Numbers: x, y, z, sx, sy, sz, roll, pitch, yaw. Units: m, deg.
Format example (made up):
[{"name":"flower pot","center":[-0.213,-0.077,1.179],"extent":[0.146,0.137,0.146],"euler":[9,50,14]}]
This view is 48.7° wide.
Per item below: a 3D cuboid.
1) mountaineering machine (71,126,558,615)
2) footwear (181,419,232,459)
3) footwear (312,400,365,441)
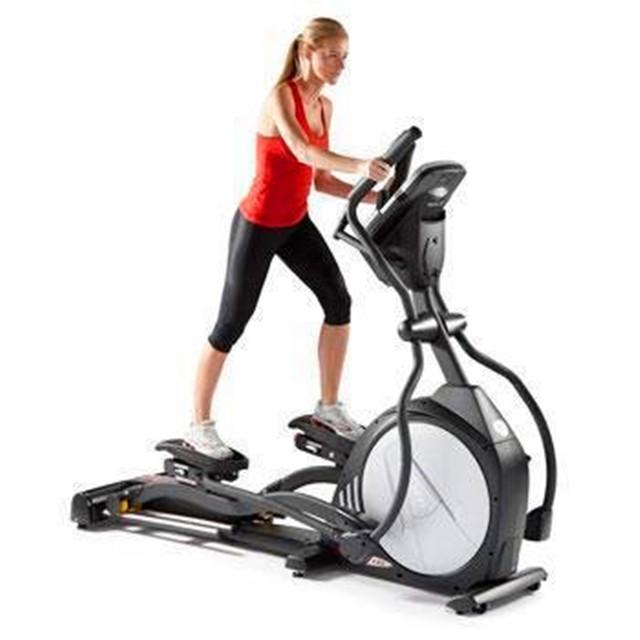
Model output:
[{"name":"mountaineering machine","center":[-0.101,0.156,2.683],"extent":[1.807,1.588,0.668],"euler":[7,6,34]},{"name":"footwear","center":[-0.473,0.482,2.969],"extent":[0.245,0.105,0.097],"euler":[23,15,29]},{"name":"footwear","center":[0.068,0.409,2.879],"extent":[0.216,0.089,0.101],"euler":[26,13,9]}]
